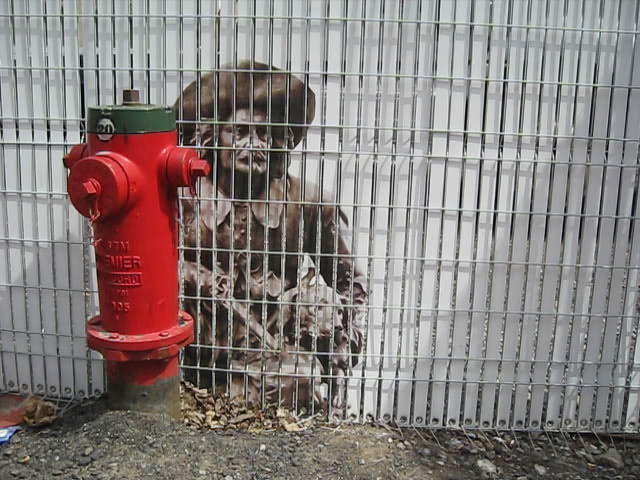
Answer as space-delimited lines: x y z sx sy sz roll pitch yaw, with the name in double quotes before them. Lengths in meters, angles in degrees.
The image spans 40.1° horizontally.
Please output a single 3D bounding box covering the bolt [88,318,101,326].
"bolt" -1.663 0.605 6.483 0.053 0.042 0.055 2 2 -2
